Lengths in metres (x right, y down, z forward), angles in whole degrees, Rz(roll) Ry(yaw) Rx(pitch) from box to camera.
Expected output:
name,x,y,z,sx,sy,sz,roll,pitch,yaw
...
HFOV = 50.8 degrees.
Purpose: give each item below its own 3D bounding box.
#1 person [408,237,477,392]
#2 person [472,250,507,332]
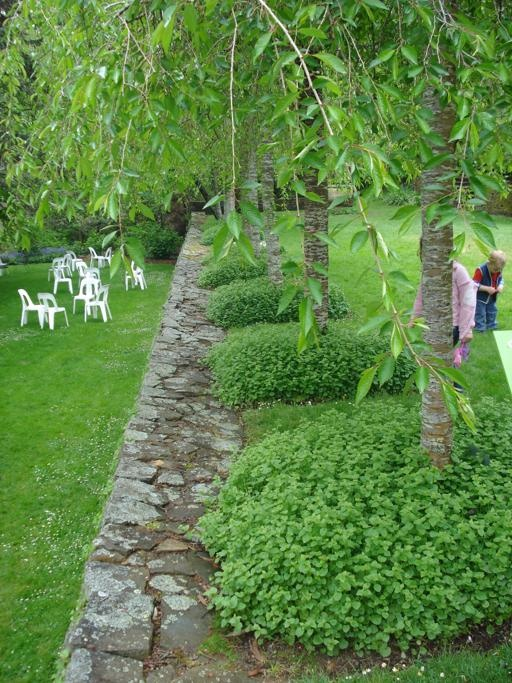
name,x,y,z,sx,sy,sz,roll,pitch,yaw
person,1.929,-0.229,5.453,0.538,1.271,3.102,-2,3,22
person,3.380,-0.682,7.841,0.412,1.143,1.756,-2,4,23
